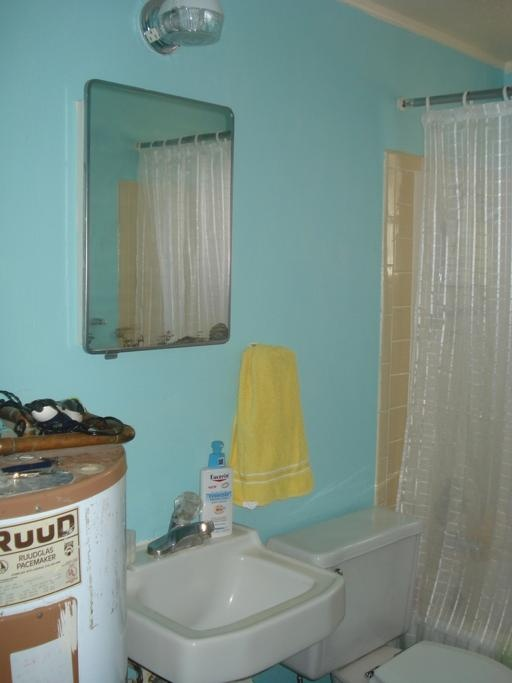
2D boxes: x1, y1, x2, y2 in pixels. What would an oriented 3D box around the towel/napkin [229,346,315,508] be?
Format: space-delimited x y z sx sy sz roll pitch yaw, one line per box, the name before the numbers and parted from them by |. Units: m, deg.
towel/napkin | 0.050 0.230 1.773 0.282 0.455 0.071 -6 8 -44
